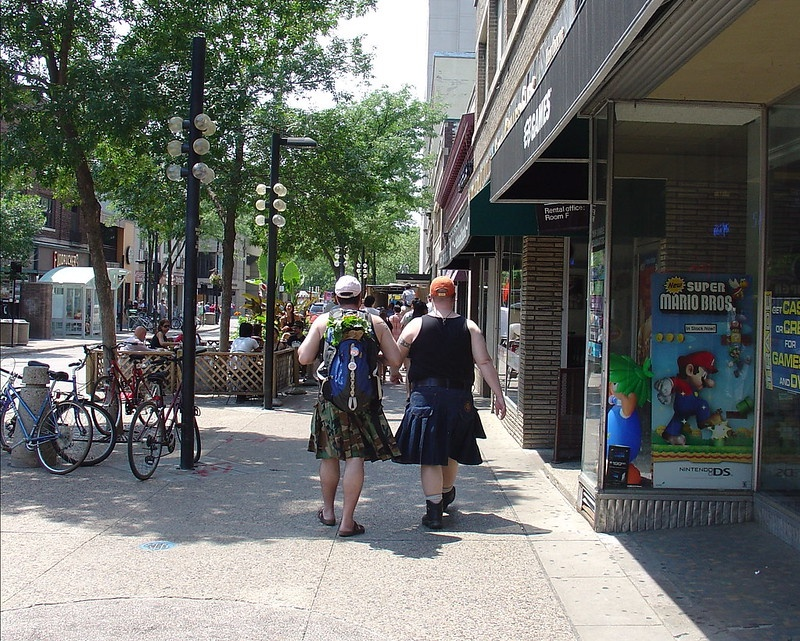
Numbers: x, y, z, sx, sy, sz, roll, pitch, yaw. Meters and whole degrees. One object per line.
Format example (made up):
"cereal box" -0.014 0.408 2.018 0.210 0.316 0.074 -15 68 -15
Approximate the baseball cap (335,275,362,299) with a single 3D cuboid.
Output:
"baseball cap" -0.451 -0.299 7.152 0.157 0.141 0.235 -1 24 7

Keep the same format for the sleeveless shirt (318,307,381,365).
"sleeveless shirt" -0.440 0.121 7.121 0.356 0.535 0.523 1 -17 -10

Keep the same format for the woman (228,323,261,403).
"woman" -2.990 0.782 15.835 0.531 1.367 1.372 0 3 -10

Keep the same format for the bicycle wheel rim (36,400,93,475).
"bicycle wheel rim" -3.704 1.261 8.950 0.694 0.776 0.437 3 4 36

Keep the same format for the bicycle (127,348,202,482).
"bicycle" -2.732 1.213 9.319 0.646 0.978 1.507 1 4 10

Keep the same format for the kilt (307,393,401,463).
"kilt" -0.434 0.963 7.136 0.713 0.807 0.517 0 -5 -6

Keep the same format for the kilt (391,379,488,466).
"kilt" 0.342 0.895 7.407 0.886 0.910 0.640 1 6 -4

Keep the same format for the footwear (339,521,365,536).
"footwear" -0.405 1.752 6.924 0.090 0.106 0.228 1 0 40

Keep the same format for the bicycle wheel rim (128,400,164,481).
"bicycle wheel rim" -2.707 1.270 8.782 0.343 0.808 0.916 0 3 -15

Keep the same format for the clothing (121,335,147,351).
"clothing" -4.742 0.409 14.607 0.253 0.221 0.459 5 5 30

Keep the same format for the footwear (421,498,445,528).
"footwear" 0.287 1.707 7.147 0.110 0.217 0.297 0 -3 -3
